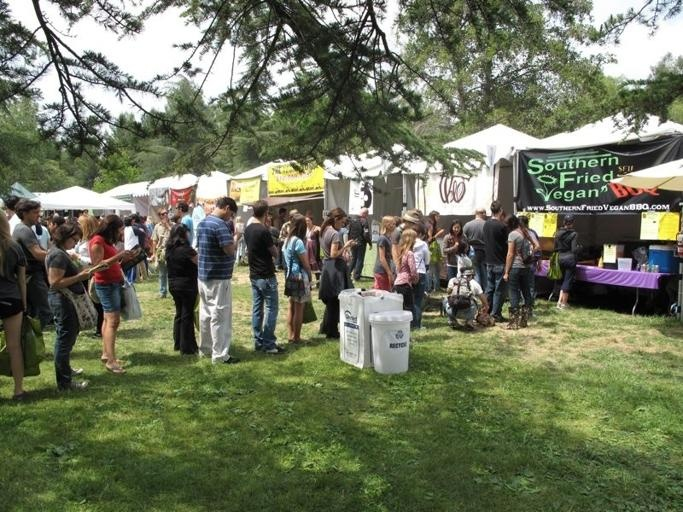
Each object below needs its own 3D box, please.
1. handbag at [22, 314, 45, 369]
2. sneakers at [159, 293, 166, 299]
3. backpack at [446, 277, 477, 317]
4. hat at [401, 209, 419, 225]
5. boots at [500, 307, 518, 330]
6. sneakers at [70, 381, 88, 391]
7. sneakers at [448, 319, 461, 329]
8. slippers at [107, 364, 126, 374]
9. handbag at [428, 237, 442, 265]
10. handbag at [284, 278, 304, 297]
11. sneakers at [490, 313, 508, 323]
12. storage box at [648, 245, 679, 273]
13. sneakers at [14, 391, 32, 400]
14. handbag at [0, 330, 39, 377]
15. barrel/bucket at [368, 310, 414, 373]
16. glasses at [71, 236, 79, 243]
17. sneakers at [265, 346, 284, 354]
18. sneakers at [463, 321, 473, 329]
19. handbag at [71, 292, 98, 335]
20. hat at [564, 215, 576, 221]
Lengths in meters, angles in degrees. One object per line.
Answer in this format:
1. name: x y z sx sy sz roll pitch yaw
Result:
1. handbag: -3.771 1.090 7.125 0.196 0.780 0.257 -1 10 -12
2. sneakers: -4.366 0.966 14.128 0.164 0.172 0.075 9 9 36
3. backpack: 2.235 0.752 10.816 0.568 0.824 0.466 -3 -22 22
4. hat: 1.258 -0.656 10.294 0.274 0.129 0.318 16 11 23
5. boots: 3.151 1.177 10.954 0.343 0.454 0.262 4 -1 17
6. sneakers: -3.369 1.654 7.495 0.171 0.084 0.077 -2 4 -6
7. sneakers: 2.126 1.291 11.033 0.144 0.144 0.315 1 3 14
8. slippers: -3.167 1.578 8.170 0.208 0.091 0.115 2 -1 -8
9. handbag: 2.203 -0.120 13.690 0.425 0.643 0.533 1 -6 -6
10. handbag: -0.747 0.496 9.229 0.262 0.272 0.151 2 3 20
11. sneakers: 3.087 1.212 11.473 0.436 0.198 0.146 0 -1 -33
12. storage box: 6.110 -0.020 11.302 0.442 0.622 0.609 -3 7 -33
13. sneakers: -3.863 1.680 7.071 0.174 0.085 0.083 1 3 0
14. handbag: -3.873 1.166 7.011 0.514 0.540 0.223 -1 8 -13
15. barrel/bucket: 0.710 1.217 8.493 0.759 0.971 0.765 -1 -4 0
16. glasses: -3.439 -0.216 7.491 0.064 0.072 0.074 -2 -9 -11
17. sneakers: -1.037 1.458 9.161 0.323 0.149 0.114 0 -1 -2
18. sneakers: 2.359 1.285 10.869 0.135 0.142 0.138 -4 -6 13
19. handbag: -3.297 0.697 7.491 0.166 0.498 0.327 5 11 22
20. hat: 4.723 -0.782 12.103 0.179 0.095 0.188 -2 1 26
